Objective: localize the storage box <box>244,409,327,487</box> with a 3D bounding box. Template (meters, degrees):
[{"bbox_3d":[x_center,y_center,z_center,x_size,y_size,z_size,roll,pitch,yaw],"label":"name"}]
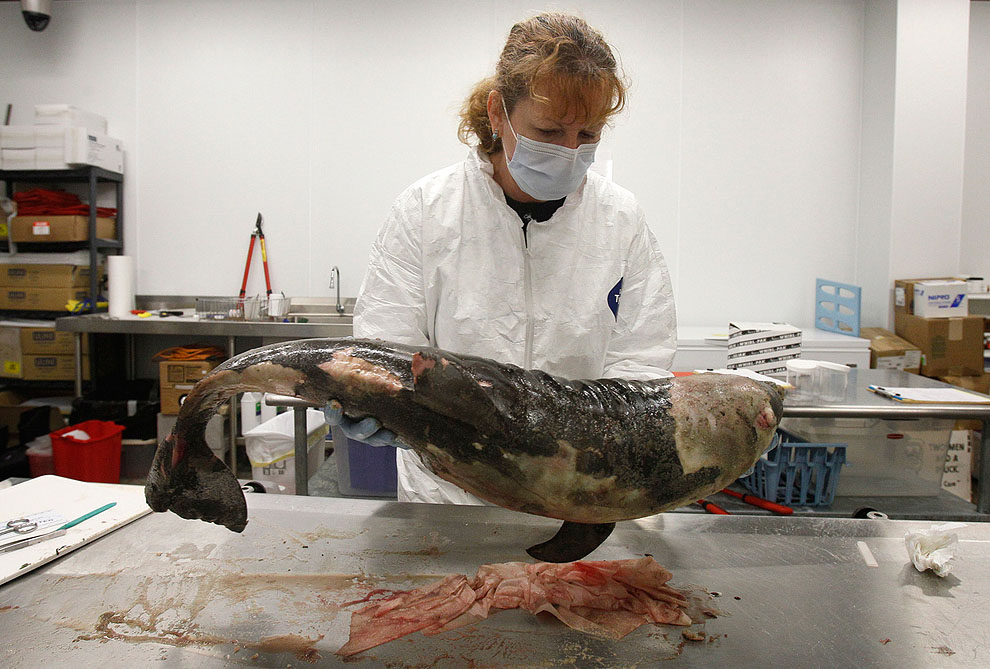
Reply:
[{"bbox_3d":[-1.227,0.691,4.990,0.422,0.391,0.587,0,2,7],"label":"storage box"}]

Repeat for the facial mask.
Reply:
[{"bbox_3d":[0.186,-0.718,3.230,0.315,0.361,0.211,0,-42,-31],"label":"facial mask"}]

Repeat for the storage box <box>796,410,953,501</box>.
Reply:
[{"bbox_3d":[1.914,0.600,4.075,0.627,0.274,0.397,0,0,0],"label":"storage box"}]

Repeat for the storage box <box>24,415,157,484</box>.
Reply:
[{"bbox_3d":[-2.647,0.729,5.297,0.617,0.428,0.491,2,4,17],"label":"storage box"}]

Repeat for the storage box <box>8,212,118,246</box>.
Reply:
[{"bbox_3d":[-3.109,-0.768,5.827,0.693,0.204,0.363,-3,3,-26],"label":"storage box"}]
